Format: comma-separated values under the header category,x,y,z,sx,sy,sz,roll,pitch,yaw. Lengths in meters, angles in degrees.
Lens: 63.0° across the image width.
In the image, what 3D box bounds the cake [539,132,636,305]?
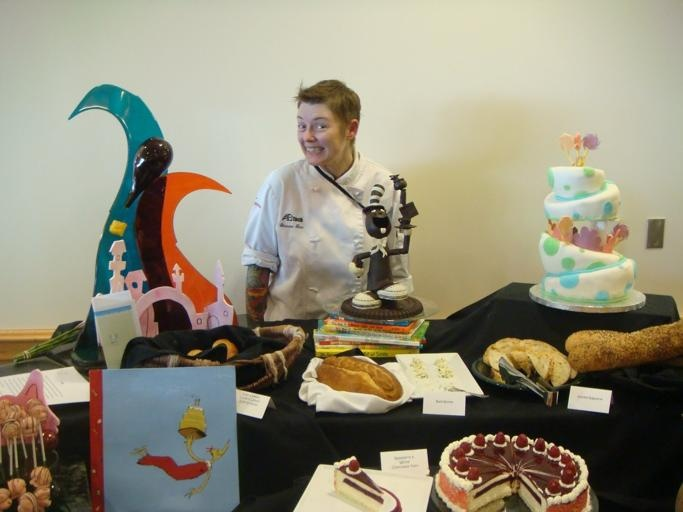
category,x,y,z,sx,sy,sz,roll,pitch,yaw
cake,0.941,-0.078,2.102,0.376,0.524,0.254,-1,7,21

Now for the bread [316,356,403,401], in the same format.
category,x,y,z,sx,sy,sz,roll,pitch,yaw
bread,0.061,0.400,1.845,0.200,0.051,0.138,13,21,25

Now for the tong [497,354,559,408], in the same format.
category,x,y,z,sx,sy,sz,roll,pitch,yaw
tong,0.636,0.421,1.856,0.037,0.093,0.166,-33,50,-31

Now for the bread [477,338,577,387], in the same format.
category,x,y,z,sx,sy,sz,roll,pitch,yaw
bread,0.672,0.356,1.938,0.199,0.051,0.156,26,30,33
